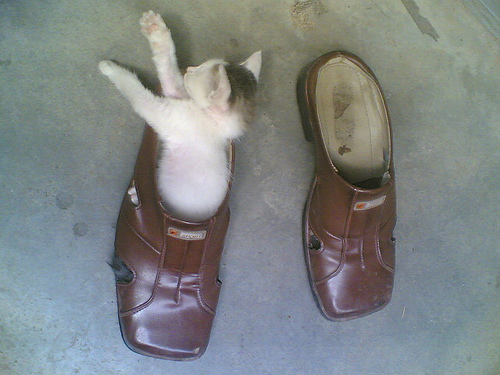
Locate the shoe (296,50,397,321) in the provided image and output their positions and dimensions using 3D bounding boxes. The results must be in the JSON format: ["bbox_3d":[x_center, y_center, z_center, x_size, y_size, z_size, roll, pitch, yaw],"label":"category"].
[{"bbox_3d":[0.399,-0.013,2.231,0.456,0.375,1.056,-5,99,-3],"label":"shoe"}]

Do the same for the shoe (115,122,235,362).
[{"bbox_3d":[-0.334,0.238,2.158,0.461,0.386,0.983,6,99,-14],"label":"shoe"}]

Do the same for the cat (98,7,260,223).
[{"bbox_3d":[-0.258,-0.284,2.085,0.716,0.313,0.743,-7,99,-14],"label":"cat"}]
